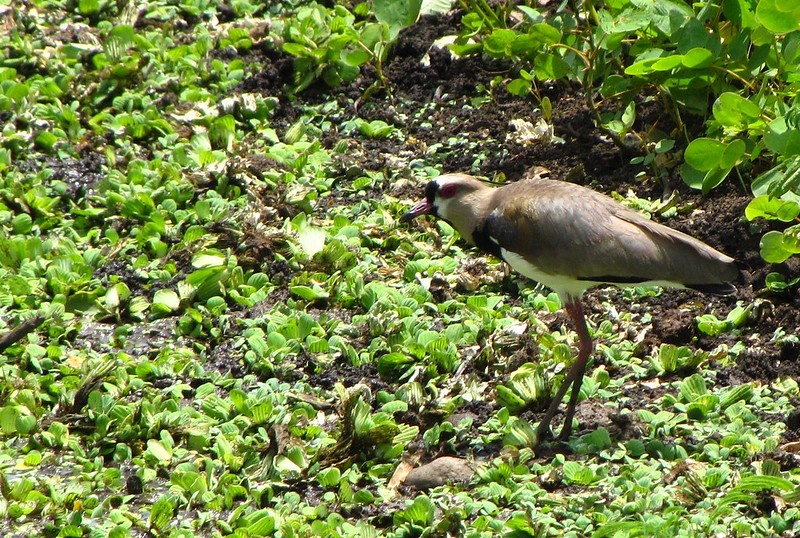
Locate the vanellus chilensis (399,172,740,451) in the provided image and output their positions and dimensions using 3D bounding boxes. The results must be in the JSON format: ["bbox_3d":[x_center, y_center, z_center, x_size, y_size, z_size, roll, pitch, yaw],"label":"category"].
[{"bbox_3d":[1.250,0.242,6.997,2.355,0.718,1.731,2,90,9],"label":"vanellus chilensis"}]
